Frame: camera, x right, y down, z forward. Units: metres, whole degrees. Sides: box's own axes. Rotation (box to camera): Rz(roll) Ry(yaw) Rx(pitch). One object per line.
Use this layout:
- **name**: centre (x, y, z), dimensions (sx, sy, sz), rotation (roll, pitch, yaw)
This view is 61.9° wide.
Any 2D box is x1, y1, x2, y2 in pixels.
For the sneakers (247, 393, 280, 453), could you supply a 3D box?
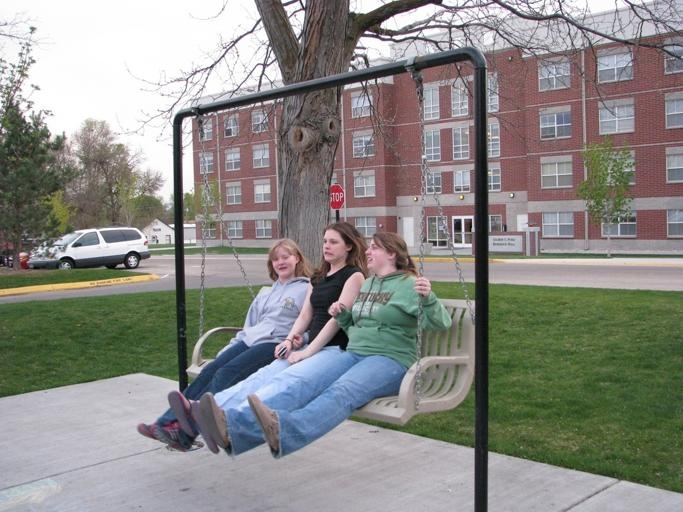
- **sneakers**: centre (-0.519, 1.125, 3.945), dimensions (0.176, 0.470, 0.152), rotation (-14, 0, -25)

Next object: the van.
- **van**: centre (-10.188, -0.340, 24.391), dimensions (1.424, 1.185, 3.131), rotation (-4, -4, 41)

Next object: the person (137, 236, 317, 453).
- **person**: centre (-0.879, 0.751, 5.198), dimensions (0.736, 1.517, 2.065), rotation (1, 6, 26)

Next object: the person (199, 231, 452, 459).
- **person**: centre (-0.084, 0.597, 4.483), dimensions (1.932, 1.504, 0.815), rotation (-4, 3, -24)

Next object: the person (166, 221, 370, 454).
- **person**: centre (-0.625, 0.725, 4.764), dimensions (0.865, 1.110, 2.126), rotation (-5, 15, 6)
